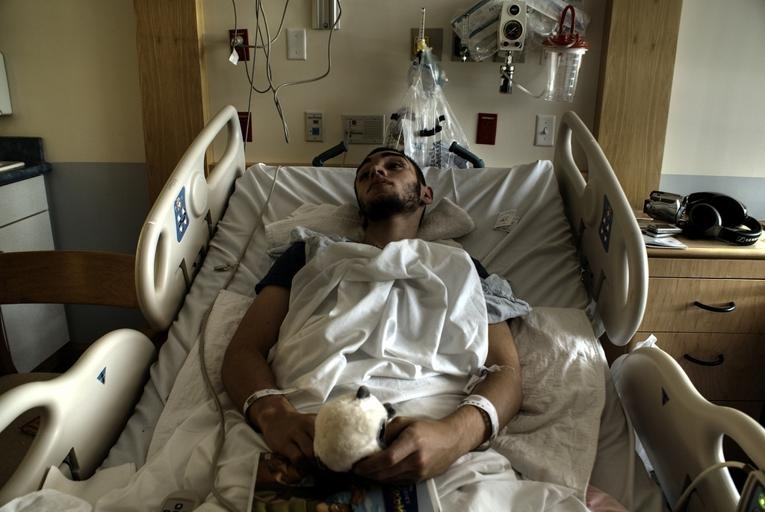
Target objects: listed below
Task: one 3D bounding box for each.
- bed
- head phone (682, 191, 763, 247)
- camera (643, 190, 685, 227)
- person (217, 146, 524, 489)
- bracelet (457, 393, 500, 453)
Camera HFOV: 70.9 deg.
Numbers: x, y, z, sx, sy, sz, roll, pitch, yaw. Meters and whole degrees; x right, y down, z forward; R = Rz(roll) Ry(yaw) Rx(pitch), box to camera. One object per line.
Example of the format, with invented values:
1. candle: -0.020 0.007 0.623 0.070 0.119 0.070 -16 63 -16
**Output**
1. bed: 0.119 0.349 1.685 1.512 0.752 1.251 1 54 0
2. head phone: 1.501 -0.109 2.418 0.274 0.139 0.251 18 44 21
3. camera: 1.327 -0.232 2.523 0.168 0.139 0.074 13 -12 46
4. person: -0.055 0.088 2.135 1.047 0.531 1.631 2 30 1
5. bracelet: 0.308 0.515 1.652 0.107 0.165 0.074 0 -16 1
